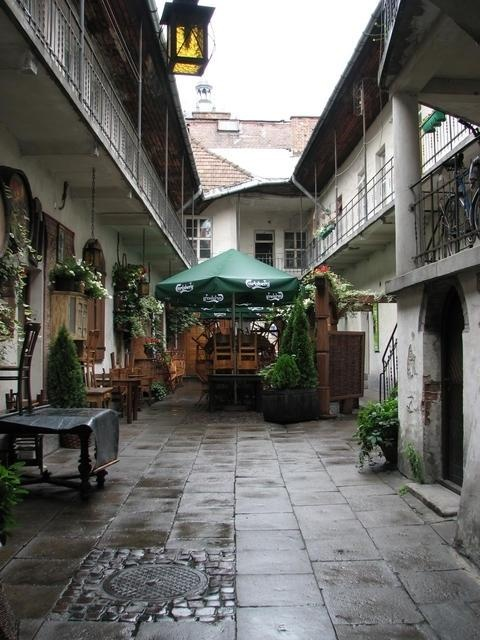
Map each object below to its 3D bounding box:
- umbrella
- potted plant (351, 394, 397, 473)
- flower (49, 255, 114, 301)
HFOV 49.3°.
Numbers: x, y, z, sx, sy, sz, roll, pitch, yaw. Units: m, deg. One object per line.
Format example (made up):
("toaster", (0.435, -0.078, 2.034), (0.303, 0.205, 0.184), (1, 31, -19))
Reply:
("umbrella", (-0.341, 0.036, 11.519), (2.385, 2.756, 2.755), (-1, -2, -3))
("potted plant", (1.538, 1.207, 5.696), (0.583, 0.694, 0.646), (-16, -15, 29))
("flower", (-2.610, -0.681, 8.408), (0.547, 0.587, 1.094), (-1, -5, 11))
